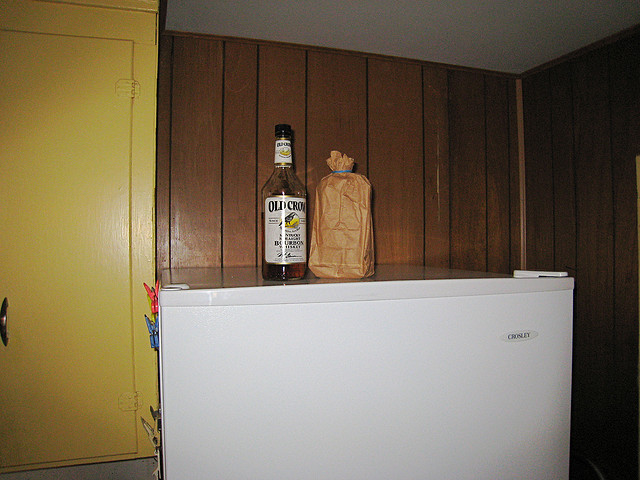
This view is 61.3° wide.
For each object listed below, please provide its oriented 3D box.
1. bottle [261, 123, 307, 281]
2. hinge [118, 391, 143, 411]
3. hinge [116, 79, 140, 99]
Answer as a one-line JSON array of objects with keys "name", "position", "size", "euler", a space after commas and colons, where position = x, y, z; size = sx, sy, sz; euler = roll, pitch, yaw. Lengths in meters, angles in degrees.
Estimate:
[{"name": "bottle", "position": [-0.100, -0.105, 1.500], "size": [0.121, 0.425, 0.123], "euler": [0, 2, 0]}, {"name": "hinge", "position": [-0.546, 0.468, 1.563], "size": [0.066, 0.052, 0.007], "euler": [-1, 2, -6]}, {"name": "hinge", "position": [-0.564, -0.445, 1.580], "size": [0.050, 0.053, 0.008], "euler": [-1, 0, -10]}]
